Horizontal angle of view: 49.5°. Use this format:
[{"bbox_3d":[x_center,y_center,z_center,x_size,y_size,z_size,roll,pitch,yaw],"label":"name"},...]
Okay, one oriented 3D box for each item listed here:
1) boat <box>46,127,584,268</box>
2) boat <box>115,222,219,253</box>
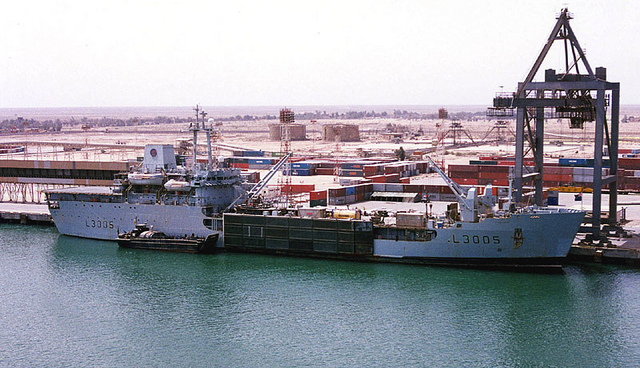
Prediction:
[{"bbox_3d":[-2.485,1.183,65.564,48.627,9.188,8.917,3,5,19],"label":"boat"},{"bbox_3d":[-14.148,5.742,66.253,11.672,3.305,3.211,3,3,11],"label":"boat"}]
